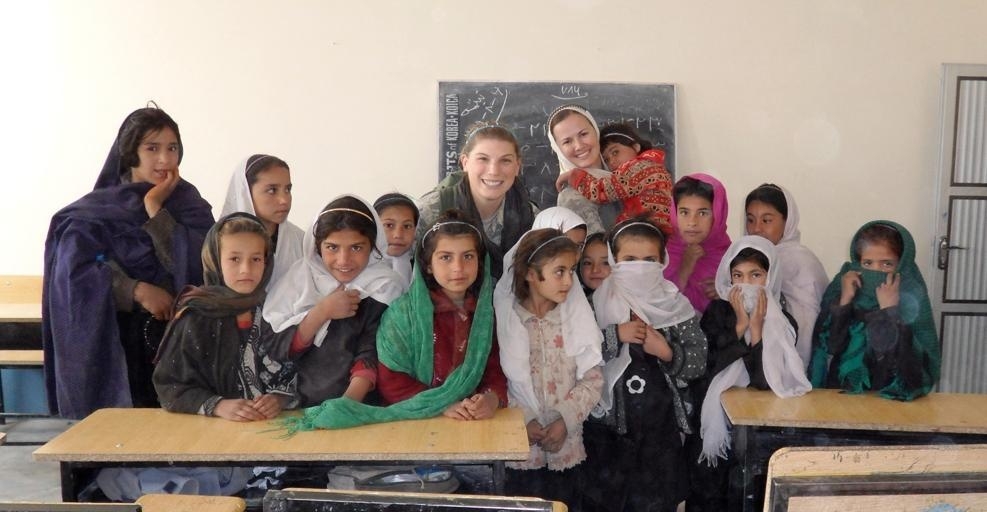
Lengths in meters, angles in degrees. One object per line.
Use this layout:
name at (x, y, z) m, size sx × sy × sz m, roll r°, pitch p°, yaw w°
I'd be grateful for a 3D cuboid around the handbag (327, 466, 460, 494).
handbag at (-0.585, 1.322, 4.805) m, size 0.781 × 0.205 × 0.257 m, roll 3°, pitch -5°, yaw -2°
